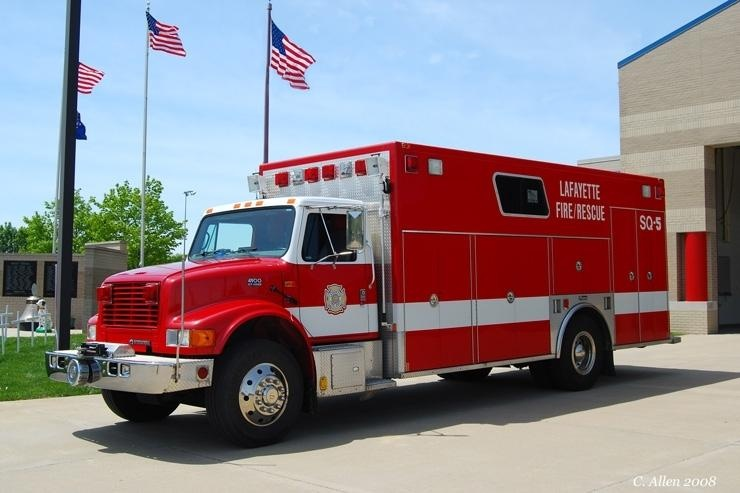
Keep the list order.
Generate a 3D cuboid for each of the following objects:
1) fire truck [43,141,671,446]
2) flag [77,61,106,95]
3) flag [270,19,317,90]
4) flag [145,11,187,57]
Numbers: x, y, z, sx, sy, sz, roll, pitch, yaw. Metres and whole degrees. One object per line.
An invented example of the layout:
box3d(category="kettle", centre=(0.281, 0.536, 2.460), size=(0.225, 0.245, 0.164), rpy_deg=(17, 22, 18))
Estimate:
box3d(category="fire truck", centre=(0.610, 0.776, 12.642), size=(10.556, 4.218, 4.457), rpy_deg=(4, -7, -39))
box3d(category="flag", centre=(-11.627, -6.950, 28.233), size=(0.816, 1.356, 1.610), rpy_deg=(-2, 4, -23))
box3d(category="flag", centre=(-2.878, -6.885, 24.473), size=(1.754, 2.529, 0.733), rpy_deg=(2, 4, 39))
box3d(category="flag", centre=(-8.927, -9.078, 29.245), size=(1.914, 1.819, 0.842), rpy_deg=(2, 4, 37))
